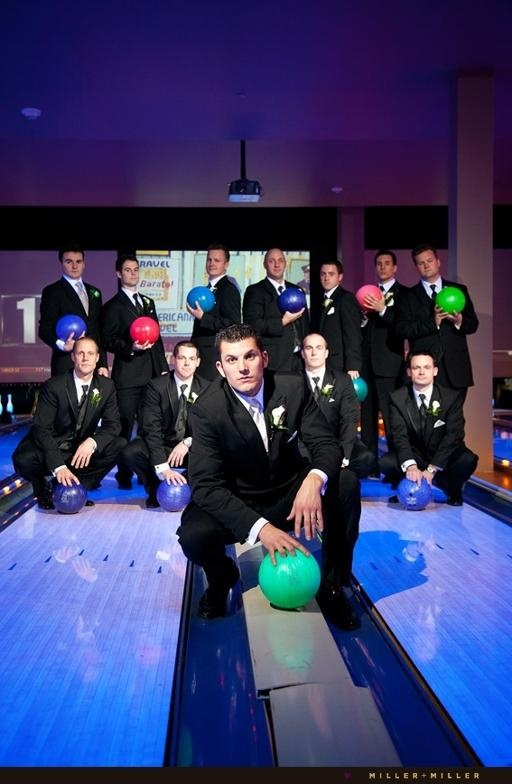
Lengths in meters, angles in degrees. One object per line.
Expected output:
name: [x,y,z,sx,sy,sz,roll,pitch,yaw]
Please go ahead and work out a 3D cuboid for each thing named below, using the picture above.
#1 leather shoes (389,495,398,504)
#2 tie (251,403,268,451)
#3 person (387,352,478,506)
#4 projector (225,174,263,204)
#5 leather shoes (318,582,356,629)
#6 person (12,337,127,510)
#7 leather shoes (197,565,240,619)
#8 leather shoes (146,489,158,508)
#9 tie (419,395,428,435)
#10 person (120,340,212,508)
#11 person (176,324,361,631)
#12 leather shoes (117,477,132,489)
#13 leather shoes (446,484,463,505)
leather shoes: [0.972,0.772,3.477,0.049,0.059,0.139,-1,-13,10]
tie: [0.015,0.116,1.829,0.044,0.202,0.051,-11,8,-8]
person: [1.178,0.260,3.433,0.531,1.055,0.601,0,-4,0]
projector: [-0.154,-2.583,6.331,0.535,0.333,0.540,-1,4,-2]
leather shoes: [0.284,0.775,1.758,0.054,0.122,0.169,-2,12,-10]
person: [-1.330,0.229,3.566,0.658,1.207,0.607,-3,-5,29]
leather shoes: [-0.135,0.764,1.866,0.094,0.184,0.255,-3,-3,21]
leather shoes: [-0.734,0.759,3.443,0.089,0.113,0.153,1,-4,-13]
tie: [1.161,0.163,3.398,0.047,0.265,0.044,-3,-4,25]
person: [-0.597,0.225,3.519,0.728,1.216,0.697,-10,22,-31]
person: [0.049,0.313,1.835,0.682,1.052,0.513,0,-5,-10]
leather shoes: [-1.110,0.770,4.135,0.100,0.117,0.103,-2,-1,11]
leather shoes: [1.364,0.701,3.383,0.111,0.166,0.145,-2,-5,20]
